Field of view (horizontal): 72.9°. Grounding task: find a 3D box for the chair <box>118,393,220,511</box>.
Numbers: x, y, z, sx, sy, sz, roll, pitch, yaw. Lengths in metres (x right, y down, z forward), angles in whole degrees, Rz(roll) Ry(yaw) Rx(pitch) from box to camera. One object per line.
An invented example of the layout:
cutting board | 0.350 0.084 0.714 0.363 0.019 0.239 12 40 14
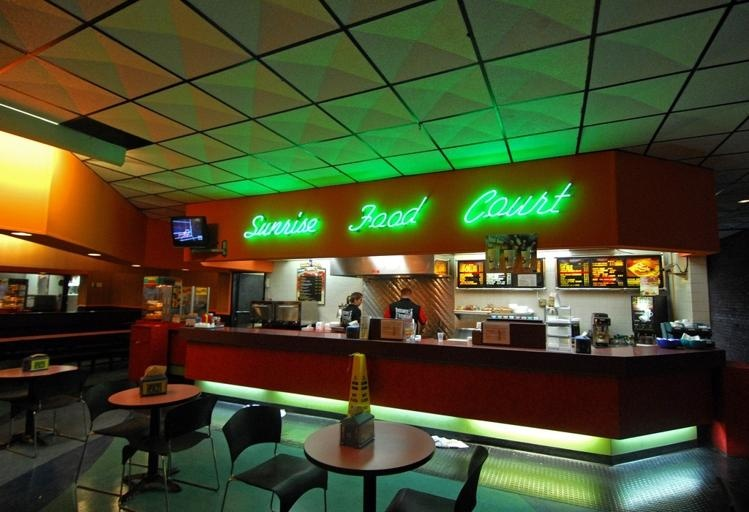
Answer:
chair | -2.629 2.452 6.548 1.182 1.328 1.275 0 -6 -16

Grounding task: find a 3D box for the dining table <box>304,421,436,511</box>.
dining table | -0.047 2.108 5.404 1.272 0.728 1.152 -1 -4 6

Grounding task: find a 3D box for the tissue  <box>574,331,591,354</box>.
tissue  | 2.901 1.221 7.082 0.216 0.216 0.368 0 -4 34

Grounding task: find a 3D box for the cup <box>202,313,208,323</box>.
cup | -3.241 1.199 9.664 0.094 0.170 0.312 0 -5 -19

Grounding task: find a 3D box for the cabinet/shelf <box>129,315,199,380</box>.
cabinet/shelf | -4.639 2.006 10.852 1.072 1.122 0.841 3 -5 -44

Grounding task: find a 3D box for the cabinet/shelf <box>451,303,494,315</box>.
cabinet/shelf | 1.949 1.056 9.942 0.760 0.202 0.324 -2 -5 13

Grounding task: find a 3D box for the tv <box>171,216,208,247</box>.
tv | -3.838 -0.502 10.528 0.769 0.522 0.360 1 3 4

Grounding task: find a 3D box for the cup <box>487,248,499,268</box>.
cup | 1.844 0.041 7.899 0.101 0.343 0.205 3 -7 -38

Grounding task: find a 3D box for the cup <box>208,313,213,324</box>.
cup | -3.155 1.211 9.728 0.086 0.162 0.325 0 -5 -19

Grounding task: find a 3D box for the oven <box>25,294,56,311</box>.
oven | -8.473 1.164 12.832 0.419 0.453 0.725 -2 -6 25

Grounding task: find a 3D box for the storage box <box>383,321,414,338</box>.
storage box | 0.351 1.136 7.899 0.320 0.239 0.460 4 -5 -41
